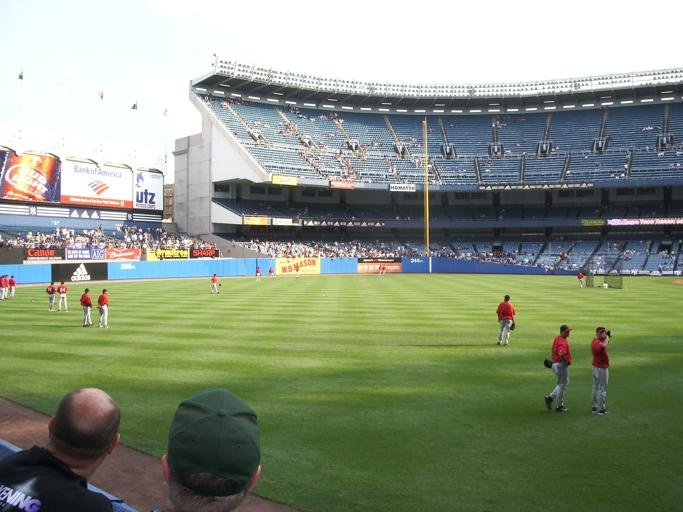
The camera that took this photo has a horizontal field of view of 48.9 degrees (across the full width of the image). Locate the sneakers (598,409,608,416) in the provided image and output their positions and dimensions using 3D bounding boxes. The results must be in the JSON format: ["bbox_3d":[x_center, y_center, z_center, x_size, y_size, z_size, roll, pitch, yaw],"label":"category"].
[{"bbox_3d":[6.293,3.768,18.181,0.284,0.159,0.087,0,4,-12],"label":"sneakers"}]

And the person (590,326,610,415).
[{"bbox_3d":[6.404,2.794,18.658,0.463,2.003,1.278,5,6,18],"label":"person"}]

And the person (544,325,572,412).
[{"bbox_3d":[5.426,2.780,18.875,0.525,1.990,1.542,5,5,16],"label":"person"}]

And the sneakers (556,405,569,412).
[{"bbox_3d":[5.432,3.757,18.490,0.401,0.109,0.220,-1,6,-37],"label":"sneakers"}]

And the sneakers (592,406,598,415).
[{"bbox_3d":[6.142,3.756,18.290,0.139,0.144,0.248,4,5,18],"label":"sneakers"}]
